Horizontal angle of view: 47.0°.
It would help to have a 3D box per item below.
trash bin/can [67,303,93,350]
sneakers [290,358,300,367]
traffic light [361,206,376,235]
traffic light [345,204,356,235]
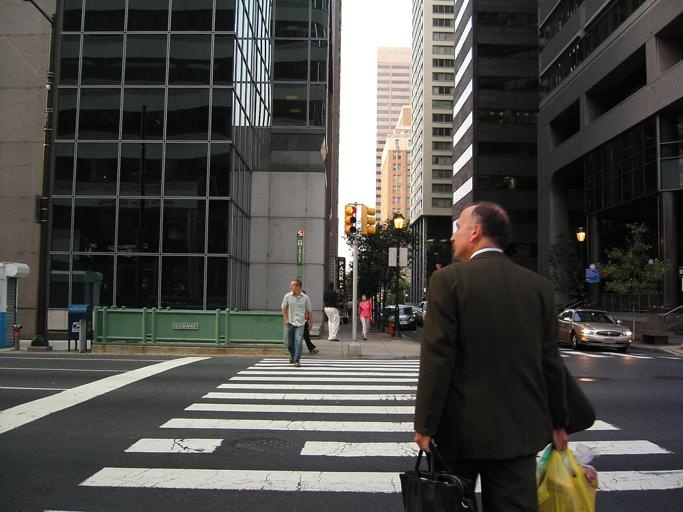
[{"bbox_3d":[-8.410,2.309,25.397,0.764,1.445,2.050,1,-5,-19],"label":"trash bin/can"},{"bbox_3d":[-1.289,2.966,21.793,0.122,0.187,0.418,2,4,-14],"label":"sneakers"},{"bbox_3d":[0.845,-1.173,25.109,0.442,0.915,1.126,-1,-5,1],"label":"traffic light"},{"bbox_3d":[0.280,-1.178,25.050,0.360,1.044,0.569,-1,-5,3],"label":"traffic light"}]
